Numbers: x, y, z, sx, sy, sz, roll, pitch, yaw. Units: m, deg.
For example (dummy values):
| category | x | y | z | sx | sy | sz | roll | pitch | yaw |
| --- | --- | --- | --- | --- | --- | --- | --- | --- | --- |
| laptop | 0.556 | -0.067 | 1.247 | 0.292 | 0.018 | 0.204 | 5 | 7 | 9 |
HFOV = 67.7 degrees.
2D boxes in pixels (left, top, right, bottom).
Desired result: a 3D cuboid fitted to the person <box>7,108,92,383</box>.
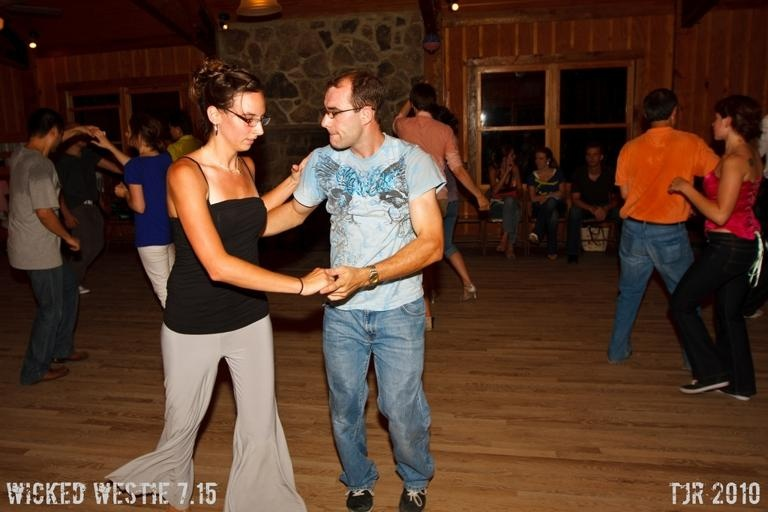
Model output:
| category | x | y | z | sx | sy | sz | roll | pitch | yaw |
| --- | --- | --- | --- | --- | --- | --- | --- | --- | --- |
| person | -2.876 | -0.072 | 4.793 | 0.566 | 2.252 | 0.508 | -7 | 14 | -27 |

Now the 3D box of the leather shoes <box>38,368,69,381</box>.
| category | x | y | z | sx | sy | sz | roll | pitch | yaw |
| --- | --- | --- | --- | --- | --- | --- | --- | --- | --- |
| leather shoes | -2.847 | 1.012 | 4.919 | 0.198 | 0.081 | 0.068 | -17 | 27 | -38 |

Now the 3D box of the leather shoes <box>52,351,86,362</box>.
| category | x | y | z | sx | sy | sz | roll | pitch | yaw |
| --- | --- | --- | --- | --- | --- | --- | --- | --- | --- |
| leather shoes | -2.869 | 0.929 | 5.211 | 0.254 | 0.110 | 0.091 | -8 | 17 | -26 |

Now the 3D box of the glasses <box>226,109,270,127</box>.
| category | x | y | z | sx | sy | sz | roll | pitch | yaw |
| --- | --- | --- | --- | --- | --- | --- | --- | --- | --- |
| glasses | -0.727 | -0.770 | 3.194 | 0.132 | 0.084 | 0.295 | 6 | 14 | 28 |

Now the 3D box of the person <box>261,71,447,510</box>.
| category | x | y | z | sx | sy | sz | roll | pitch | yaw |
| --- | --- | --- | --- | --- | --- | --- | --- | --- | --- |
| person | -0.074 | 0.262 | 3.304 | 0.827 | 2.565 | 0.540 | -1 | 12 | -1 |

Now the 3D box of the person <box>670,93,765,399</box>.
| category | x | y | z | sx | sy | sz | roll | pitch | yaw |
| --- | --- | --- | --- | --- | --- | --- | --- | --- | --- |
| person | 2.530 | -0.046 | 4.294 | 0.672 | 2.237 | 0.458 | 6 | 14 | 30 |

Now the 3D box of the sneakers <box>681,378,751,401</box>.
| category | x | y | z | sx | sy | sz | roll | pitch | yaw |
| --- | --- | --- | --- | --- | --- | --- | --- | --- | --- |
| sneakers | 2.545 | 1.019 | 4.408 | 0.493 | 0.196 | 0.167 | 3 | 7 | 29 |

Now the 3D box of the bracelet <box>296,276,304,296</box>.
| category | x | y | z | sx | sy | sz | roll | pitch | yaw |
| --- | --- | --- | --- | --- | --- | --- | --- | --- | --- |
| bracelet | -0.442 | 0.155 | 3.071 | 0.033 | 0.086 | 0.133 | -3 | 13 | -8 |

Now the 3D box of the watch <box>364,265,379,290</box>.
| category | x | y | z | sx | sy | sz | roll | pitch | yaw |
| --- | --- | --- | --- | --- | --- | --- | --- | --- | --- |
| watch | -0.055 | 0.111 | 3.095 | 0.078 | 0.118 | 0.105 | -2 | 6 | -13 |
